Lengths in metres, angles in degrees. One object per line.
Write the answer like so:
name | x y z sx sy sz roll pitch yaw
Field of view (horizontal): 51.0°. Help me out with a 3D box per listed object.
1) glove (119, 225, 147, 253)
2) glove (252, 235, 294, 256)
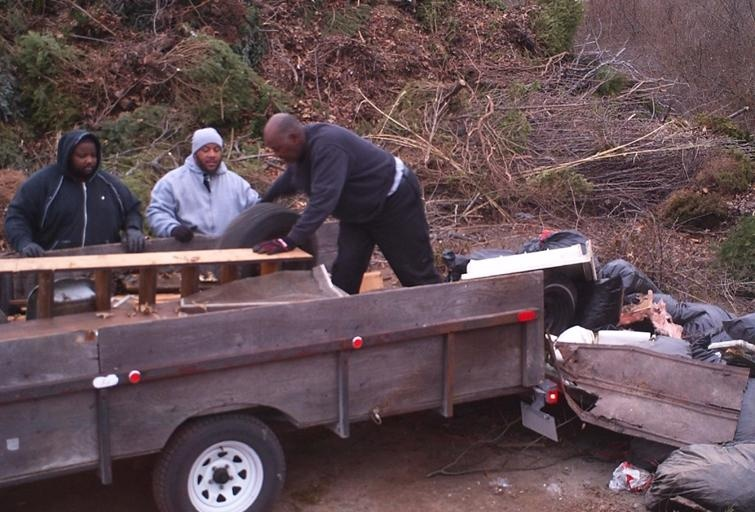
glove | -2.670 -0.188 8.685 0.226 0.283 0.134 -3 -25 -45
glove | -1.051 -0.101 8.004 0.320 0.098 0.193 -24 37 -22
